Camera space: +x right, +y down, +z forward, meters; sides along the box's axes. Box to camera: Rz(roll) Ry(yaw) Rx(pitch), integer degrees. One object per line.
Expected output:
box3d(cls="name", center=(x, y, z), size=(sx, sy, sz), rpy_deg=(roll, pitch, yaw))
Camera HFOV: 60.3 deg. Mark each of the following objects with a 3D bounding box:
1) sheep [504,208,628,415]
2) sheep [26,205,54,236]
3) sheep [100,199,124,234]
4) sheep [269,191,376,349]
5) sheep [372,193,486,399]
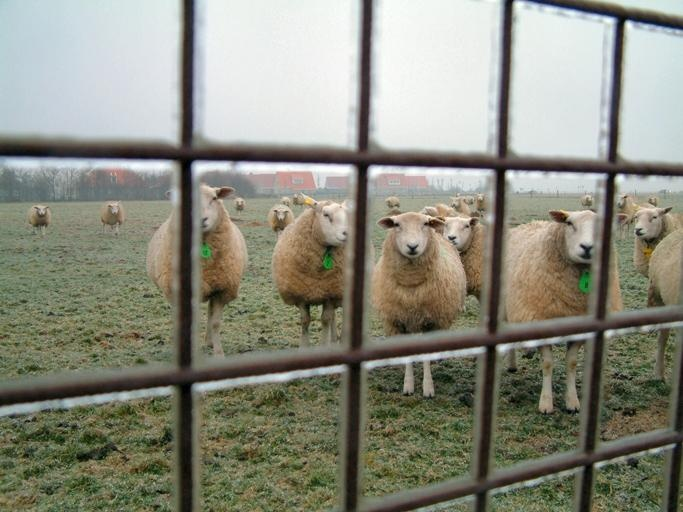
box3d(cls="sheep", center=(2.201, 0.541, 5.921), size=(1.061, 2.030, 1.805), rpy_deg=(-2, 2, 16))
box3d(cls="sheep", center=(-12.680, -1.504, 24.601), size=(0.736, 1.205, 1.380), rpy_deg=(-4, 2, -33))
box3d(cls="sheep", center=(-9.676, -1.672, 24.766), size=(0.734, 1.174, 2.296), rpy_deg=(1, -7, -20))
box3d(cls="sheep", center=(-0.368, 0.196, 7.644), size=(1.091, 1.955, 0.619), rpy_deg=(-2, 2, 15))
box3d(cls="sheep", center=(0.862, 0.186, 6.543), size=(1.034, 1.346, 0.731), rpy_deg=(-3, 2, -2))
